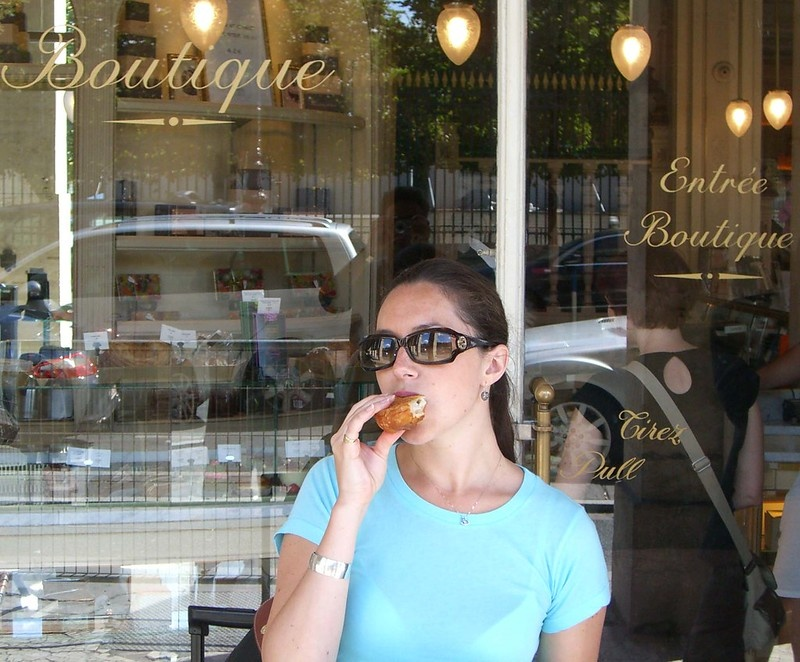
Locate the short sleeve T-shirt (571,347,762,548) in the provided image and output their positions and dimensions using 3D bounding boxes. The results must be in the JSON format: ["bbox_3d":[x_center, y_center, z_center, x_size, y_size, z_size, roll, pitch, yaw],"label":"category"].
[{"bbox_3d":[1.033,0.451,4.057,0.866,0.768,0.431,-1,0,5],"label":"short sleeve T-shirt"}]

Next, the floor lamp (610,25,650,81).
[{"bbox_3d":[0.913,-1.108,4.041,0.165,0.061,0.211,9,-27,13],"label":"floor lamp"}]

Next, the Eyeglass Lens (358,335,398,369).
[{"bbox_3d":[-0.061,0.058,2.860,0.096,0.043,0.099,-1,-9,29],"label":"Eyeglass Lens"}]

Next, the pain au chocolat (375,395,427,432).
[{"bbox_3d":[0.009,0.229,2.783,0.120,0.044,0.090,-15,36,24],"label":"pain au chocolat"}]

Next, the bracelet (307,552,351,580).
[{"bbox_3d":[-0.184,0.623,2.694,0.084,0.034,0.070,16,-4,-14],"label":"bracelet"}]

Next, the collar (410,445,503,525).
[{"bbox_3d":[0.151,0.441,2.897,0.280,0.045,0.265,0,43,7],"label":"collar"}]
